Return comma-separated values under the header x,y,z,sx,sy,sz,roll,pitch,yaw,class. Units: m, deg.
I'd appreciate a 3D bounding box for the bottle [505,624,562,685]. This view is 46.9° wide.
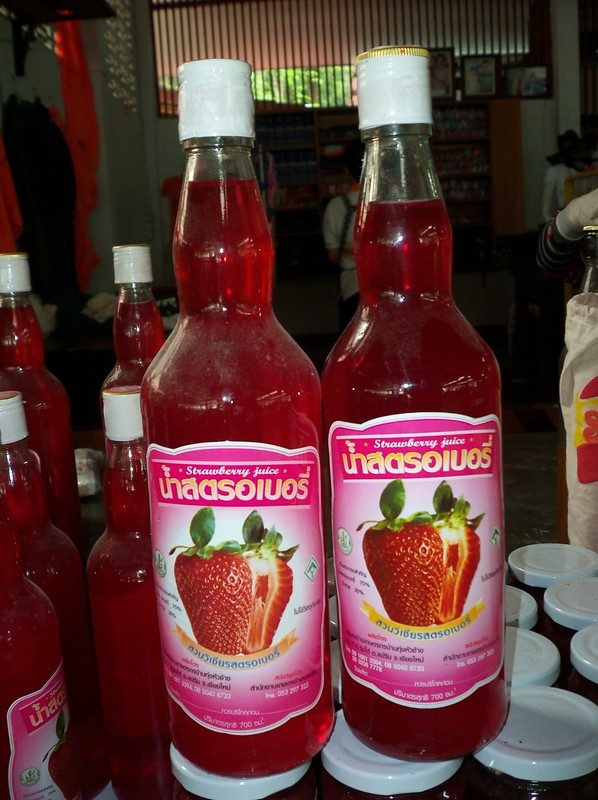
x,y,z,sx,sy,sz,roll,pitch,yaw,class
0.190,0.213,0.567,0.039,0.038,0.038,4,28,12,bottle

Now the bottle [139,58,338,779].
x,y,z,sx,sy,sz,roll,pitch,yaw,class
-0.041,0.040,0.425,0.117,0.380,0.103,-13,16,-29,bottle
